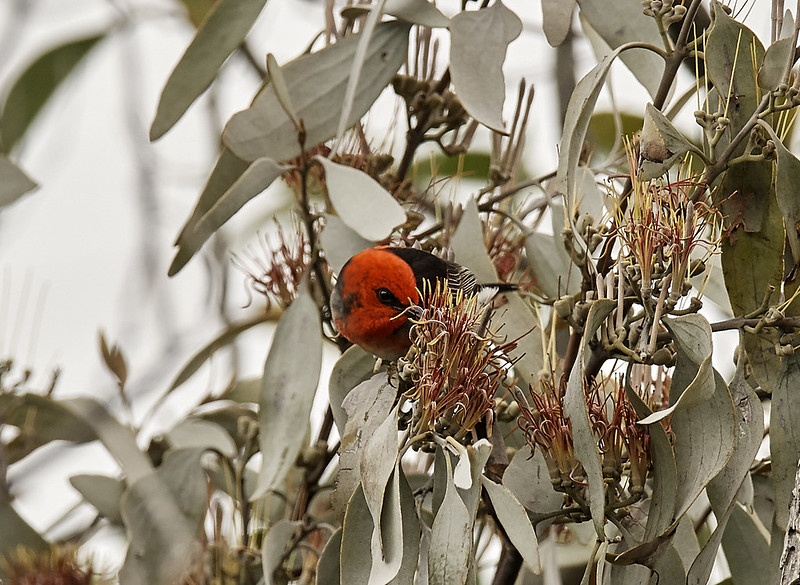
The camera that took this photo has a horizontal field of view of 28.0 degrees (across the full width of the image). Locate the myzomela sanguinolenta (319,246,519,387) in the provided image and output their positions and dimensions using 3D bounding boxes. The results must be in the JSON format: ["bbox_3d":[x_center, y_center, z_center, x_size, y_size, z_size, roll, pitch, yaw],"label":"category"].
[{"bbox_3d":[0.030,-0.004,2.142,0.257,0.181,0.147,-25,31,-26],"label":"myzomela sanguinolenta"}]
